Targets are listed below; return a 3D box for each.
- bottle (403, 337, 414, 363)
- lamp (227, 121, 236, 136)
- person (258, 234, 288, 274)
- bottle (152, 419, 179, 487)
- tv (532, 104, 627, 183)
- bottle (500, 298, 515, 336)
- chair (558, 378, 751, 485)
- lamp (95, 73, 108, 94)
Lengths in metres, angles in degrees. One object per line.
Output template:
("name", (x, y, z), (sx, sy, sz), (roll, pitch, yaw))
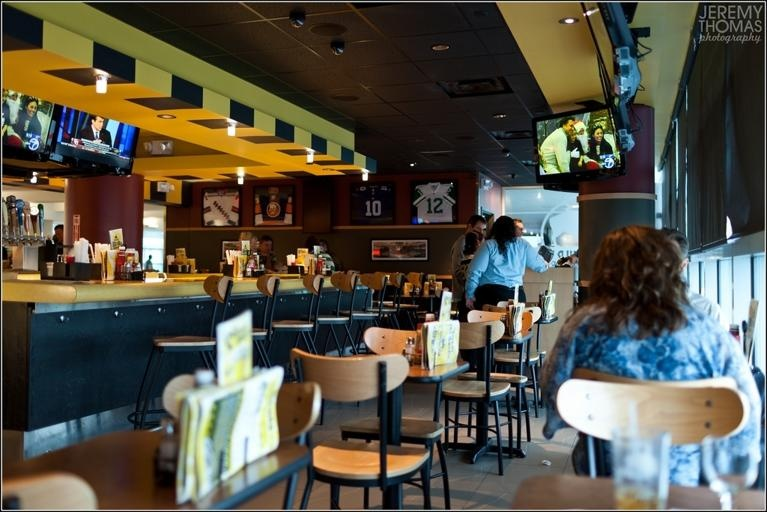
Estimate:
("bottle", (0.171, 0.606, 3.771), (0.075, 0.152, 0.131), (-1, -3, 2))
("lamp", (-1.879, -1.582, 7.127), (0.120, 0.159, 0.116), (1, 2, 19))
("person", (-1.749, 0.017, 8.783), (0.525, 0.671, 0.507), (4, 2, -20))
("bottle", (-0.792, 0.704, 2.100), (0.081, 0.206, 0.281), (0, -3, -21))
("tv", (2.459, -1.340, 6.808), (0.636, 0.923, 1.182), (-13, 11, -36))
("bottle", (1.069, 0.537, 4.904), (0.095, 0.245, 0.217), (-2, -3, 10))
("chair", (1.084, 0.591, 2.445), (0.559, 0.618, 0.460), (1, 4, 15))
("lamp", (-2.653, -1.636, 5.419), (0.127, 0.177, 0.119), (-1, 6, 3))
